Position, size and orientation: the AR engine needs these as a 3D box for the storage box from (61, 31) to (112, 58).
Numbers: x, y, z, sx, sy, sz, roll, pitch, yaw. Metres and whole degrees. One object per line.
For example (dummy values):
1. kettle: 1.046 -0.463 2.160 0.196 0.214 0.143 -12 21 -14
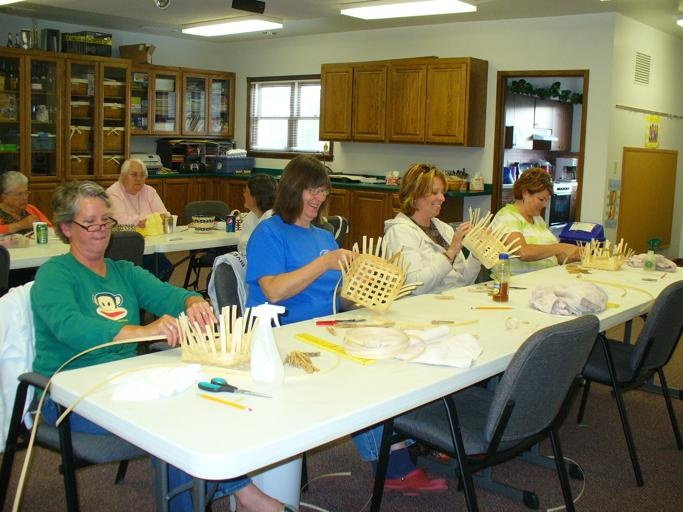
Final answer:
1. storage box: -3.340 -2.791 7.089 0.460 0.289 0.455 10 14 37

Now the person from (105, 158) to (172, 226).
1. person: -1.852 -0.548 4.915 0.564 0.658 0.794 -9 19 -43

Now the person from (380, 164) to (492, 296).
1. person: 0.525 -0.121 3.143 0.551 0.785 0.496 -2 4 -27

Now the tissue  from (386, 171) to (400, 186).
1. tissue : 0.654 -0.996 6.906 0.162 0.215 0.066 2 -14 -5

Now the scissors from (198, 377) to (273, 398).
1. scissors: -0.290 0.341 1.484 0.200 0.027 0.071 6 7 33

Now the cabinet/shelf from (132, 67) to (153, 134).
1. cabinet/shelf: -2.863 -2.190 7.651 0.077 0.823 0.304 12 18 42

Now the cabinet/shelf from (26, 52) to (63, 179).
1. cabinet/shelf: -3.775 -1.737 6.846 0.459 1.448 0.113 -7 15 -27

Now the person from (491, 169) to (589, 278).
1. person: 1.343 -0.229 3.717 0.568 0.730 0.498 8 9 5

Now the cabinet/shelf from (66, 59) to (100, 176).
1. cabinet/shelf: -3.433 -1.794 7.098 0.461 1.440 0.157 -7 15 -26

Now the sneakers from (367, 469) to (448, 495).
1. sneakers: 0.298 1.002 2.438 0.339 0.118 0.141 -2 1 -4

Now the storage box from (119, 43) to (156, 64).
1. storage box: -2.890 -2.833 7.645 0.457 0.262 0.307 2 11 8

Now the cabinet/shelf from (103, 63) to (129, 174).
1. cabinet/shelf: -3.105 -1.836 7.368 0.168 1.446 0.424 11 17 39

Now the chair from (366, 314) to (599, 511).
1. chair: 0.558 0.460 2.193 0.700 0.929 0.833 -6 8 -43

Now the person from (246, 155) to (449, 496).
1. person: 0.035 0.273 2.433 1.012 1.477 0.678 2 5 34
